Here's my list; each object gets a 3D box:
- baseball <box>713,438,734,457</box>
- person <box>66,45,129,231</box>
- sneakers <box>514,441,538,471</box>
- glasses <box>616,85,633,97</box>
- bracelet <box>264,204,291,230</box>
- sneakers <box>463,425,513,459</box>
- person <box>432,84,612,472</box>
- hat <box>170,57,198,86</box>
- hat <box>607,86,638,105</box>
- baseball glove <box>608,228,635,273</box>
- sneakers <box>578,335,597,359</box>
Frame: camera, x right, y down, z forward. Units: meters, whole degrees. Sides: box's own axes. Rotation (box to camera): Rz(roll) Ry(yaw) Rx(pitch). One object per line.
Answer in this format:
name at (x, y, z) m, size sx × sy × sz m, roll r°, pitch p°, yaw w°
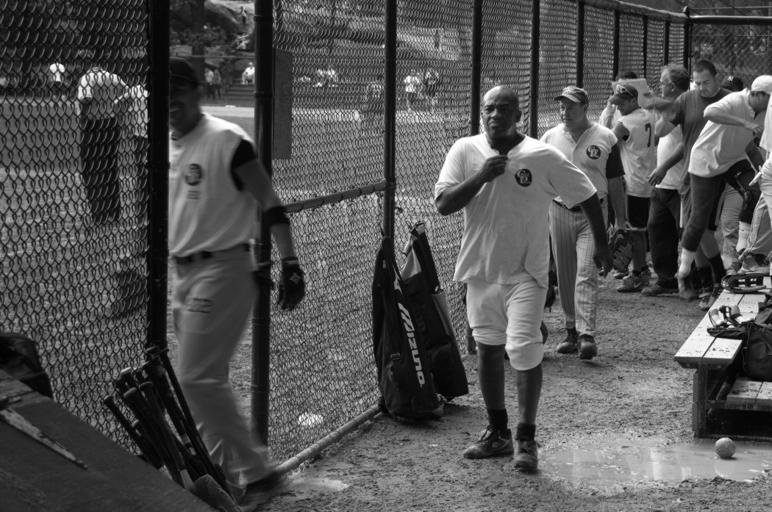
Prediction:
baseball at (2.360, 1.360, 6.159) m, size 0.121 × 0.132 × 0.124 m, roll -8°, pitch -17°, yaw 41°
person at (-1.525, -0.623, 4.740) m, size 0.261 × 0.963 × 0.497 m, roll -3°, pitch 11°, yaw -19°
sneakers at (0.955, 1.363, 6.010) m, size 0.160 × 0.215 × 0.202 m, roll 2°, pitch 11°, yaw 9°
glasses at (2.925, -2.029, 10.792) m, size 0.175 × 0.070 × 0.131 m, roll 21°, pitch 11°, yaw -26°
bracelet at (-0.634, -0.224, 5.069) m, size 0.121 × 0.096 × 0.129 m, roll 4°, pitch 12°, yaw 15°
sneakers at (0.732, 1.339, 6.273) m, size 0.408 × 0.218 × 0.163 m, roll 1°, pitch 1°, yaw -15°
person at (0.890, 0.137, 6.108) m, size 1.124 × 2.574 × 0.801 m, roll 1°, pitch 10°, yaw 2°
hat at (-1.165, -1.049, 5.022) m, size 0.226 × 0.161 × 0.166 m, roll -8°, pitch 14°, yaw -36°
hat at (2.925, -2.000, 10.859) m, size 0.268 × 0.156 × 0.194 m, roll 4°, pitch 22°, yaw 1°
baseball glove at (2.630, -0.062, 9.817) m, size 0.164 × 0.489 × 0.343 m, roll -6°, pitch 20°, yaw 13°
sneakers at (1.861, 0.860, 8.108) m, size 0.102 × 0.129 × 0.280 m, roll -1°, pitch -30°, yaw 5°
